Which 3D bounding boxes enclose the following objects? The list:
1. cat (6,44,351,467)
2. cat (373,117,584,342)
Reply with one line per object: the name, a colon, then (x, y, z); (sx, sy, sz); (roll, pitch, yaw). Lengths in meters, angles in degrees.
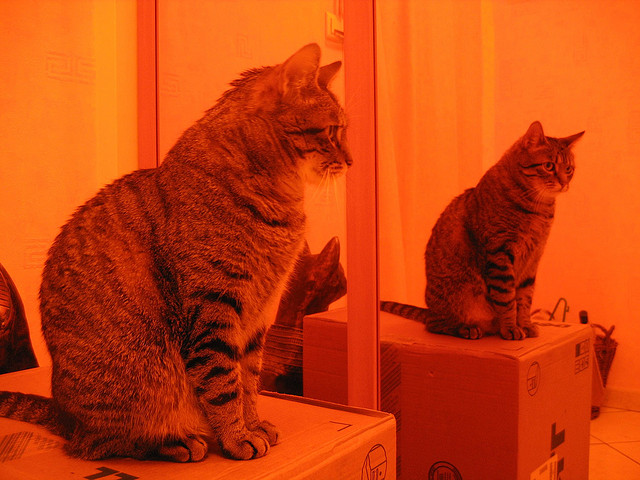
cat: (-0.273, 0.005, 1.078); (0.663, 0.755, 0.313); (1, 10, -3)
cat: (0.509, -0.011, 1.888); (0.678, 0.680, 0.257); (1, 6, 43)
